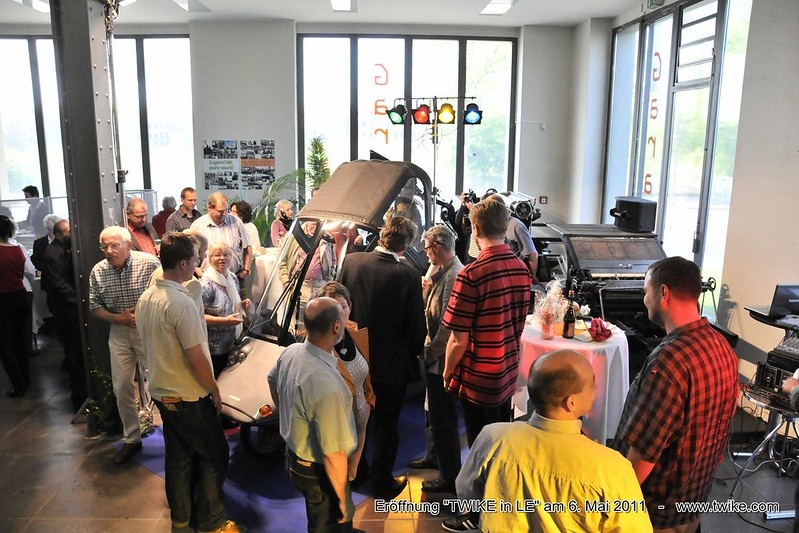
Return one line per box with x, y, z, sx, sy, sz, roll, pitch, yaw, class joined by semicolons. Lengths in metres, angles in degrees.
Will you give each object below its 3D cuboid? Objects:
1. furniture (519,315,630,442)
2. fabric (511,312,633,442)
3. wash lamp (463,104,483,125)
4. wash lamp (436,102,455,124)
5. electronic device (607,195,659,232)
1.257;0.895;4.274;0.705;0.662;0.681;7;-10;-5;furniture
1.261;0.902;4.246;0.743;0.656;0.694;1;-13;11;fabric
1.066;-2.261;7.892;0.350;0.446;0.108;-4;5;-4;wash lamp
0.659;-2.223;7.602;0.272;0.308;0.163;-1;8;0;wash lamp
2.801;-0.644;6.363;0.427;0.387;0.555;-2;11;-4;electronic device
